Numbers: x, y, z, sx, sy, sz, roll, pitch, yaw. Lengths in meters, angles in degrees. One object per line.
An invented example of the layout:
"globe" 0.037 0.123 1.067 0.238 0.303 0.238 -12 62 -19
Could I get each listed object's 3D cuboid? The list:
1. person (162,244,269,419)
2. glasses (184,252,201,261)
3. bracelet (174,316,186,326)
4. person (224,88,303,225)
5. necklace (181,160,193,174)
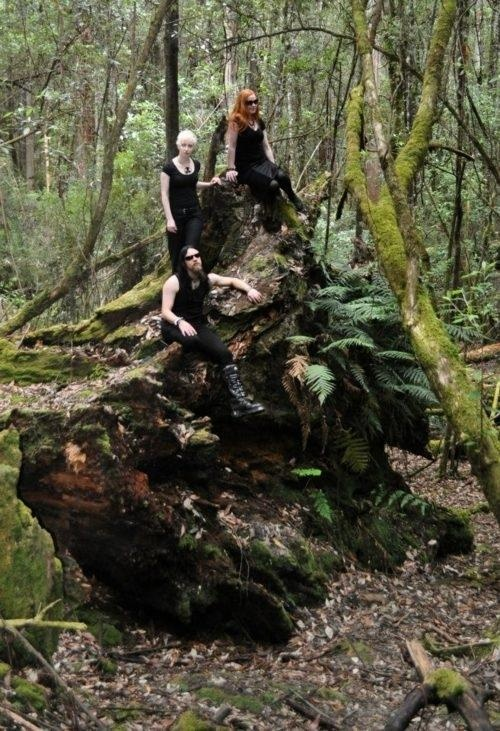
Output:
"person" -0.219 -0.346 5.587 0.994 1.326 1.041 -5 12 -33
"glasses" -0.480 -0.914 5.537 0.137 0.095 0.117 3 6 -24
"bracelet" -0.578 -0.370 5.437 0.026 0.071 0.071 22 -22 12
"person" 0.115 -2.073 6.360 0.649 1.068 0.496 8 6 17
"necklace" -0.610 -1.900 6.312 0.124 0.172 0.028 -10 17 -16
